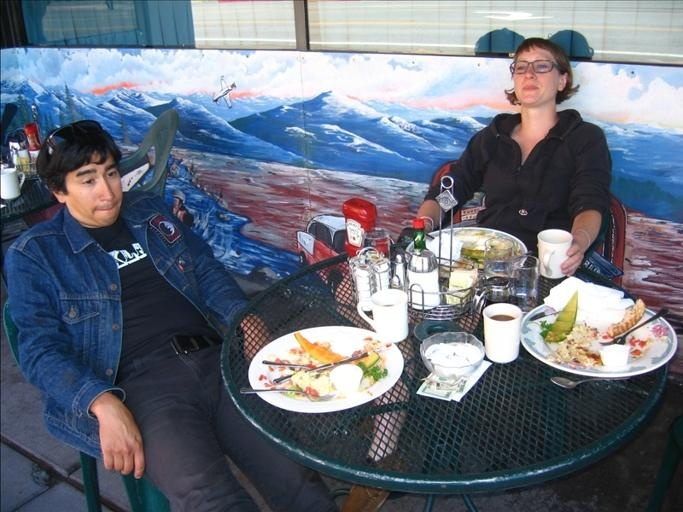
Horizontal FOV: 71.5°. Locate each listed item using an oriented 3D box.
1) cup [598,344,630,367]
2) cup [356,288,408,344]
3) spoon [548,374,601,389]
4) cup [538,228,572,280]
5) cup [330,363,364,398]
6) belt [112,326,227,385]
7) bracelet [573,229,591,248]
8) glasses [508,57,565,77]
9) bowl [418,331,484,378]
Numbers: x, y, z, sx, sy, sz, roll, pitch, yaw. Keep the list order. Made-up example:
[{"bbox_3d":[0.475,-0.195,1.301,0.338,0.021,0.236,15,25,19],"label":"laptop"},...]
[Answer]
[{"bbox_3d":[0.826,0.300,1.447,0.076,0.050,0.073,-15,21,6],"label":"cup"},{"bbox_3d":[0.149,0.200,1.686,0.218,0.174,0.130,-7,24,4],"label":"cup"},{"bbox_3d":[0.690,0.381,1.438,0.201,0.029,0.046,-1,55,-9],"label":"spoon"},{"bbox_3d":[0.860,-0.021,1.979,0.139,0.172,0.222,10,30,27],"label":"cup"},{"bbox_3d":[0.016,0.376,1.437,0.096,0.064,0.087,0,30,7],"label":"cup"},{"bbox_3d":[-0.788,0.445,2.172,0.325,0.082,0.225,-10,9,-4],"label":"belt"},{"bbox_3d":[1.036,-0.076,2.048,0.069,0.065,0.058,6,40,27],"label":"bracelet"},{"bbox_3d":[1.043,-1.005,2.528,0.272,0.074,0.121,6,24,18],"label":"glasses"},{"bbox_3d":[0.330,0.324,1.489,0.163,0.068,0.161,2,25,-1],"label":"bowl"}]
